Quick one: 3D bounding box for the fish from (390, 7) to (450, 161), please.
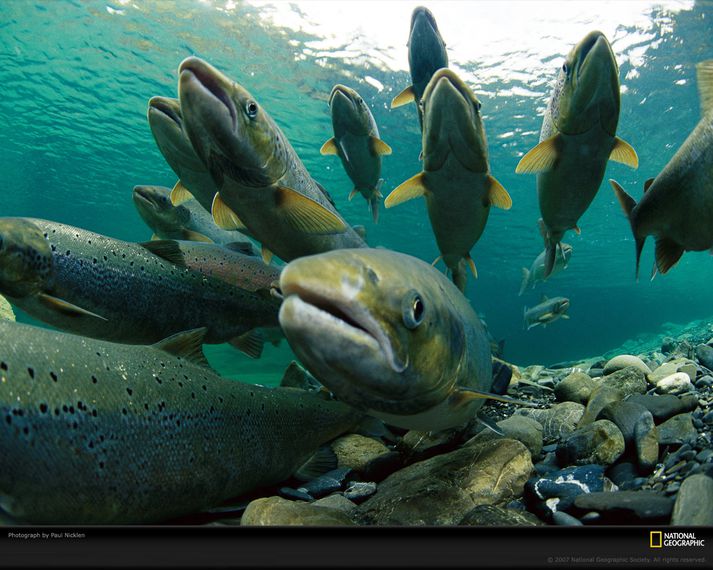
[{"bbox_3d":[0.889,-2.856,9.068,0.637,1.712,0.569,4,52,13],"label":"fish"}]
